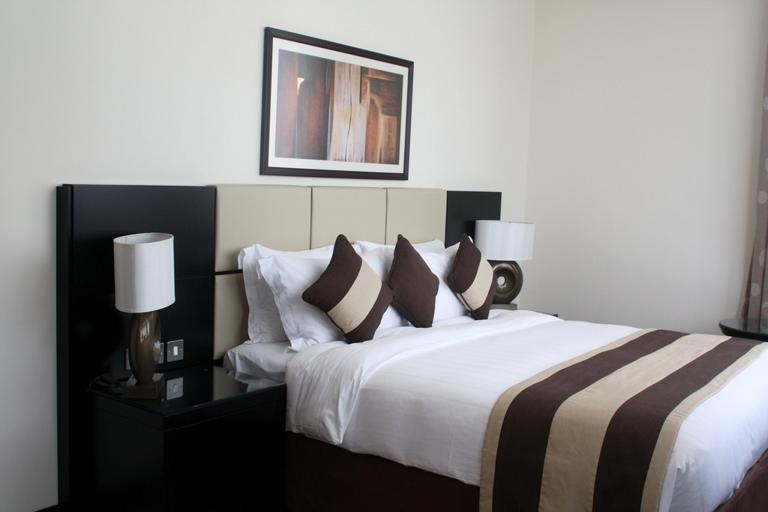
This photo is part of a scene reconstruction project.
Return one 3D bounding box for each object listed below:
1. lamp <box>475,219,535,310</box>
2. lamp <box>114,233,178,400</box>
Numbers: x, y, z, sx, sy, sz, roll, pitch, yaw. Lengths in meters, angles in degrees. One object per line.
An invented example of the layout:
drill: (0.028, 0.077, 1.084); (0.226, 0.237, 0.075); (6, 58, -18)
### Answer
lamp: (1.086, 0.086, 4.999); (0.416, 0.671, 0.407); (-2, -6, 27)
lamp: (-1.196, 0.283, 2.870); (0.287, 0.741, 0.446); (-5, 15, -18)
